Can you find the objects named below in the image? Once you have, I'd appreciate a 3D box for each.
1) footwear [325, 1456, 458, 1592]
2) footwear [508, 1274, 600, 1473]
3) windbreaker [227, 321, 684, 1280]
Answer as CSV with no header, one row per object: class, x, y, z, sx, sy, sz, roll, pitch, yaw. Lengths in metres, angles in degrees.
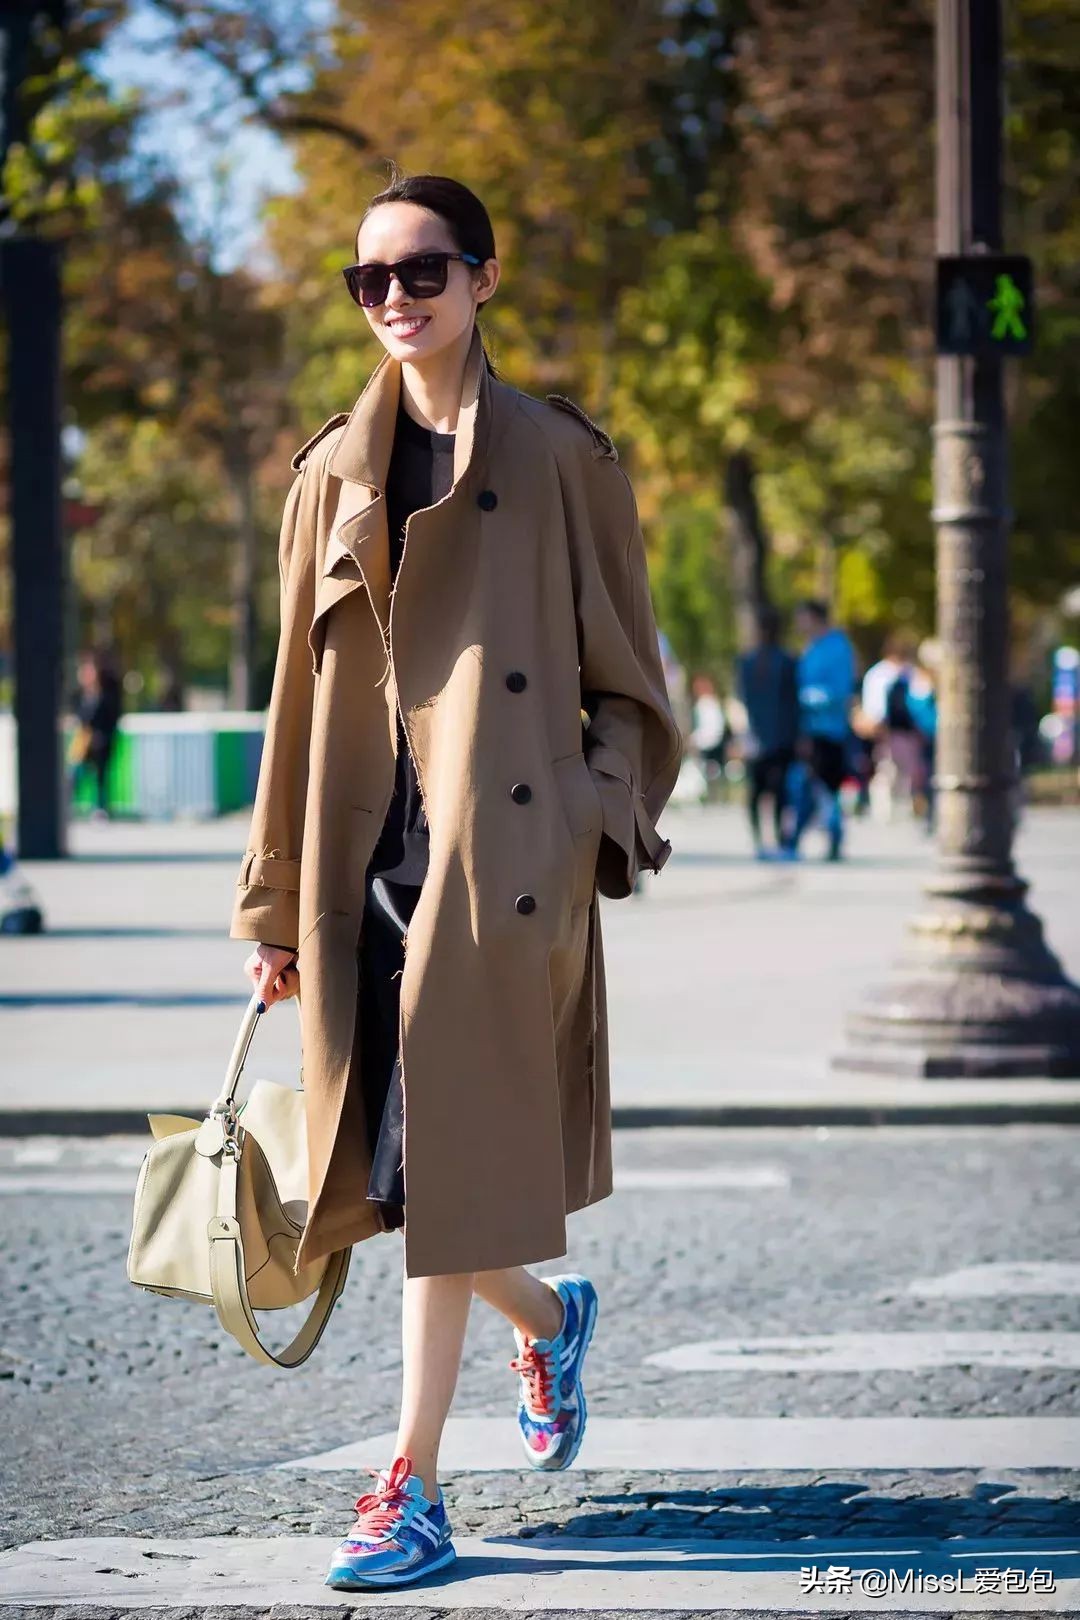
footwear,-0.229,1.121,5.056,0.113,0.198,0.314,-9,-5,24
footwear,0.006,0.973,5.502,0.123,0.352,0.164,-1,1,19
windbreaker,-0.136,-0.011,5.141,0.721,1.489,0.481,0,4,2
